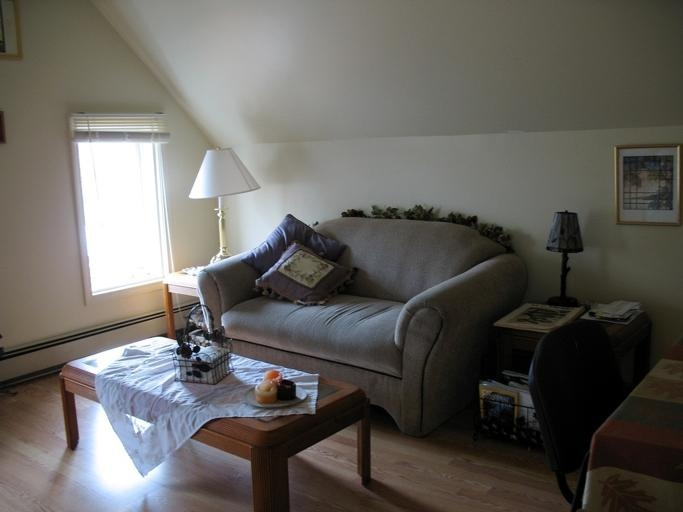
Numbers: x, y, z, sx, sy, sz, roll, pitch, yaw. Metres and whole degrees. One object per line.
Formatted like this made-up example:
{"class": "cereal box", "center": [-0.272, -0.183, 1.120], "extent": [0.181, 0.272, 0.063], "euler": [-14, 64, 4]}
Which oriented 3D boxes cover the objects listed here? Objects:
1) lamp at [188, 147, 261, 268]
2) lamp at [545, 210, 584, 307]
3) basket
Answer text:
{"class": "lamp", "center": [-0.985, -0.390, 4.439], "extent": [0.569, 0.933, 0.577], "euler": [0, 12, 5]}
{"class": "lamp", "center": [1.385, 0.013, 3.345], "extent": [0.201, 0.586, 0.289], "euler": [3, 11, 25]}
{"class": "basket", "center": [-0.691, 0.424, 2.649], "extent": [0.224, 0.347, 0.253], "euler": [0, 8, 18]}
